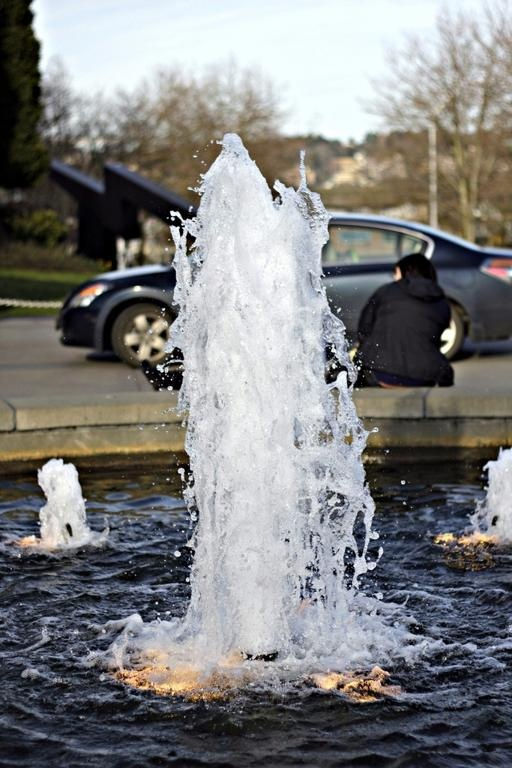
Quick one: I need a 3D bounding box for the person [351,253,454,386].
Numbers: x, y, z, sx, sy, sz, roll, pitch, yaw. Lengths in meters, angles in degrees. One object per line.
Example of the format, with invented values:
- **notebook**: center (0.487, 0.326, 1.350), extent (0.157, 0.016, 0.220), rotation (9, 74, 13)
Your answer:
- **person**: center (1.047, -0.384, 10.754), extent (0.626, 0.936, 0.634), rotation (11, -7, -18)
